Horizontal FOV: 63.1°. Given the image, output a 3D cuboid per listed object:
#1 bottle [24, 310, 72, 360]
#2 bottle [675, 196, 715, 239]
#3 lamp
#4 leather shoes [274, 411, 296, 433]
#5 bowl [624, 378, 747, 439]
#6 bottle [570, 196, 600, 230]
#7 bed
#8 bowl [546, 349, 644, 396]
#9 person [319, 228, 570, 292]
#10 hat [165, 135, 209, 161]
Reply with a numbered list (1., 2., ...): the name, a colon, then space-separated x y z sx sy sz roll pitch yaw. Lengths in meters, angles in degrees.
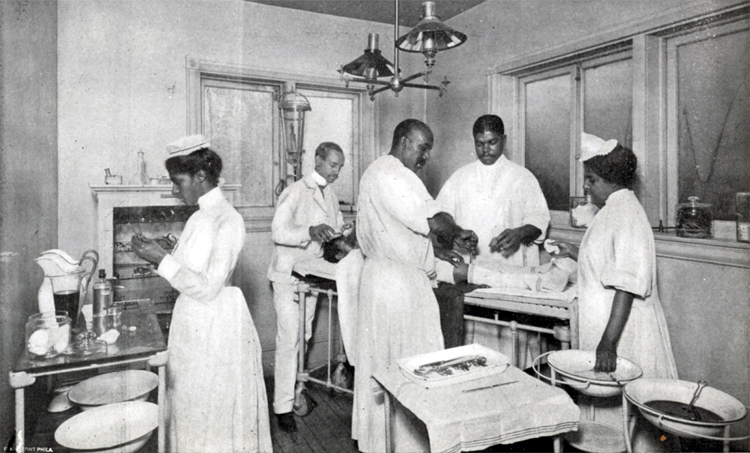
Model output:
1. bottle: -2.076 0.688 3.887 0.278 0.274 0.266 2 -2 -33
2. bottle: 2.255 -0.054 4.316 0.237 0.312 0.254 1 -1 0
3. lamp: 0.158 -1.465 4.864 0.858 0.820 1.116 -2 7 -6
4. leather shoes: -0.675 1.511 4.689 0.082 0.087 0.216 3 -6 -40
5. bowl: 1.895 1.118 3.748 0.690 0.284 0.373 1 7 18
6. bottle: 1.645 -0.115 4.834 0.250 0.246 0.239 6 8 -3
7. bed: 0.627 0.881 4.266 1.421 0.682 0.952 2 -2 -9
8. bowl: 1.374 0.940 3.931 0.422 0.100 0.371 -1 10 -21
9. person: 0.513 0.303 4.738 1.881 0.553 0.656 5 9 7
10. hat: -1.195 -0.509 3.906 0.242 0.152 0.099 -4 8 -26
